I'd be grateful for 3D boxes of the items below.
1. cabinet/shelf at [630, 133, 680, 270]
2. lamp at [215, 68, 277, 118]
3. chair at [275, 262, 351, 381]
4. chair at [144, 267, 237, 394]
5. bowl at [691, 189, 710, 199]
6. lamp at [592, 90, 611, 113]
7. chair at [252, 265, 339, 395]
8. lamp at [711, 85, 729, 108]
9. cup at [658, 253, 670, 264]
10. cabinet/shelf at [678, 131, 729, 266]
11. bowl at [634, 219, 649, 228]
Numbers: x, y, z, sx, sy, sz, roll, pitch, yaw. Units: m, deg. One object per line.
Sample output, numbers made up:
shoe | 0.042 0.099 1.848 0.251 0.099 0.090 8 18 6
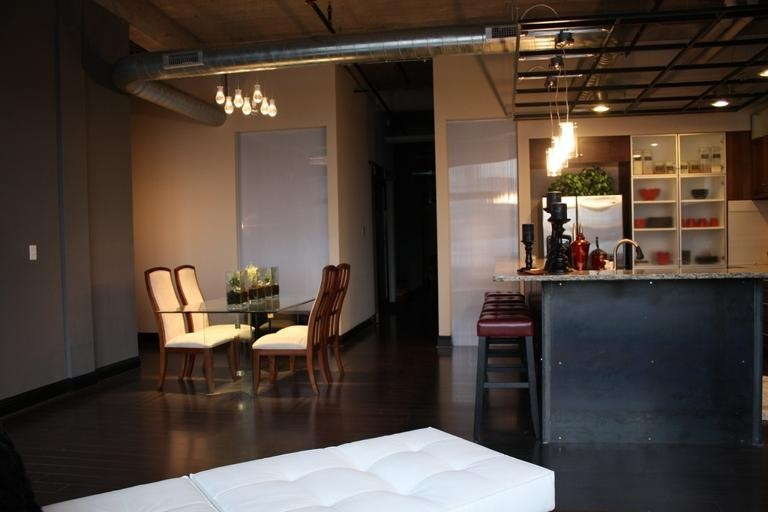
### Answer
cabinet/shelf | 3.852 -0.693 8.610 0.592 1.909 0.448 -2 -3 36
lamp | -2.041 -2.442 9.126 0.905 0.464 0.916 9 12 13
chair | -0.992 0.804 7.642 0.970 1.520 0.979 2 7 6
chair | -2.344 0.882 7.575 0.989 1.453 0.951 1 4 6
bowl | 4.463 -0.873 8.604 0.249 0.137 0.073 -2 9 -2
lamp | 2.719 -1.919 7.673 0.164 0.277 0.164 -4 3 -19
chair | -1.073 0.834 7.474 1.079 1.422 0.971 3 7 32
lamp | 4.096 -1.946 7.406 0.192 0.213 0.216 6 13 32
cup | 3.998 0.039 8.739 0.157 0.158 0.154 1 -3 0
cabinet/shelf | 4.427 -0.725 8.476 0.532 1.871 0.488 0 -3 30
bowl | 3.663 -0.460 8.718 0.134 0.100 0.126 0 -4 0
